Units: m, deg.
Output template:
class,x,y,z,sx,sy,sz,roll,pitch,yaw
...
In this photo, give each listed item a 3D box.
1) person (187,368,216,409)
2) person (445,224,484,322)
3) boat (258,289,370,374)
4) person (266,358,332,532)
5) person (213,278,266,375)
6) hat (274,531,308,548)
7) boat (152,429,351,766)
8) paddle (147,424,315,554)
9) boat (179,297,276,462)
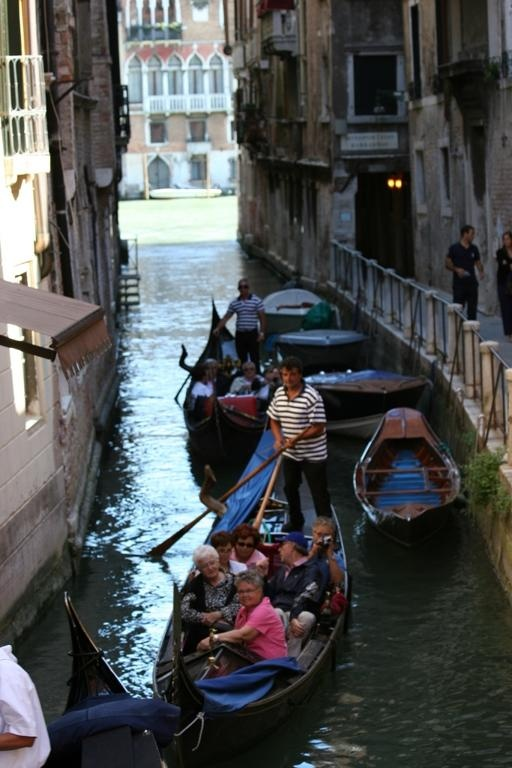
class,x,y,z,sx,sy,sz,roll,pitch,yaw
person,-0.819,0.049,13.479,0.253,0.357,0.947,6,28,6
person,2.938,-1.503,12.569,0.469,1.423,2.198,0,11,13
boat,1.216,-1.146,18.617,0.979,1.222,3.477,-2,11,-4
person,0.367,0.618,8.207,0.523,1.761,0.547,3,20,21
person,-0.261,-0.911,15.775,0.762,1.998,0.523,-3,26,-2
hat,0.263,1.211,6.935,0.256,0.164,0.184,10,-11,12
boat,0.029,1.534,6.184,0.629,1.120,3.075,2,23,12
paddle,-0.254,1.171,9.786,1.807,0.220,0.144,-44,-7,-8
boat,-0.811,-0.193,16.002,1.051,1.734,4.919,-13,-7,-8
